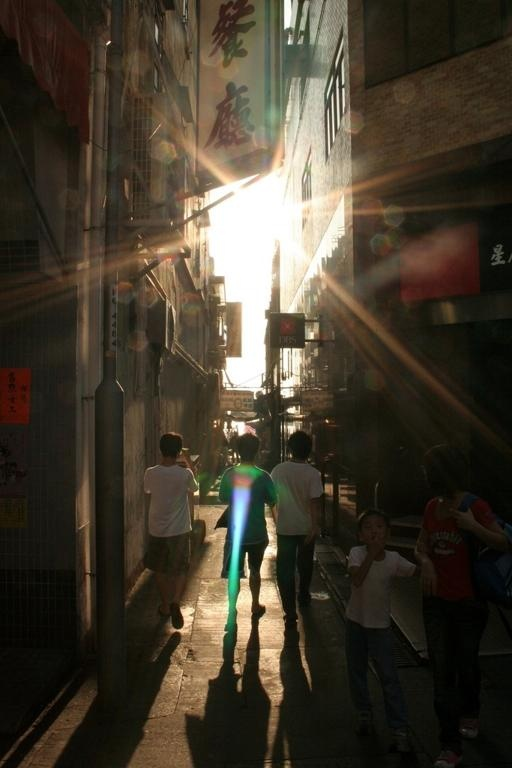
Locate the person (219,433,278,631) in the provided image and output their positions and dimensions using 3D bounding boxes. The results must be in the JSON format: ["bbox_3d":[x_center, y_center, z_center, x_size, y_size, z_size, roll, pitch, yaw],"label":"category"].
[{"bbox_3d":[-0.074,1.348,6.300,0.515,1.753,0.806,0,-2,0],"label":"person"}]

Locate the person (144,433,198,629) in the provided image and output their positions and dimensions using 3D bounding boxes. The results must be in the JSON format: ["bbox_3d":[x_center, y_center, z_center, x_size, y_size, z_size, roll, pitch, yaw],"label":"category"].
[{"bbox_3d":[-0.802,1.347,6.364,0.460,1.744,0.481,-1,-2,21],"label":"person"}]
